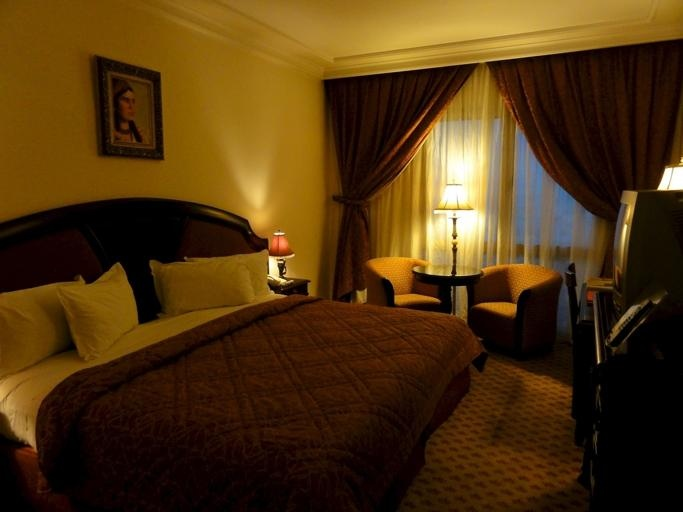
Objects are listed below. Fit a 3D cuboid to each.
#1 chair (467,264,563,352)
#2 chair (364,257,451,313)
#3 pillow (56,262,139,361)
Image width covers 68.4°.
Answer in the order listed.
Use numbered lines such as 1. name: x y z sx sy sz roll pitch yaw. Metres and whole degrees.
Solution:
1. chair: 1.800 0.537 5.181 0.726 0.843 0.855 -2 6 -21
2. chair: 0.680 0.473 5.527 0.794 0.894 0.745 -3 1 -22
3. pillow: -1.619 0.383 3.308 0.159 0.409 0.493 -8 7 11
